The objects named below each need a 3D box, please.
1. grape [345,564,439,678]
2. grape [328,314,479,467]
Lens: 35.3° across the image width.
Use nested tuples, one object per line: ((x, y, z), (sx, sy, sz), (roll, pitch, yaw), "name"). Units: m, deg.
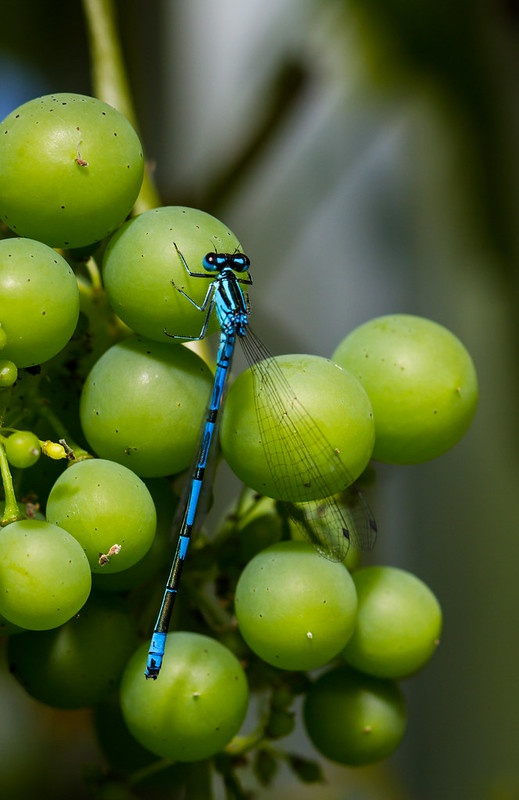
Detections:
((0.092, 0.154, 0.567), (0.079, 0.059, 0.059), (-4, 63, -6), "grape")
((0.112, -0.006, 0.604), (0.101, 0.117, 0.101), (-22, 19, -25), "grape")
